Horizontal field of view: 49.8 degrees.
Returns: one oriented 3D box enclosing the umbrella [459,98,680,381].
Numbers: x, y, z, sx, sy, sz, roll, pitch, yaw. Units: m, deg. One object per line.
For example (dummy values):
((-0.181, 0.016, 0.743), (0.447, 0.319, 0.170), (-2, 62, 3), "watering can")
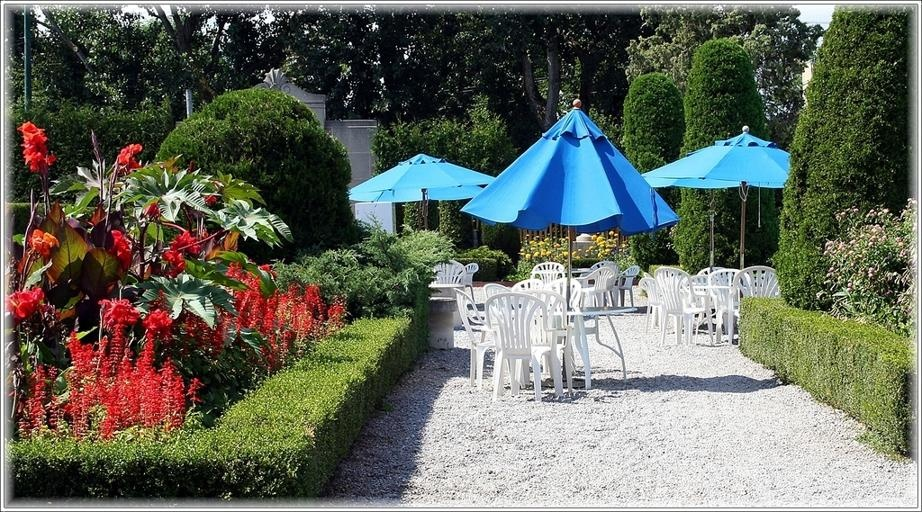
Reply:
((2.000, -0.467, 16.807), (3.450, 4.454, 3.799), (1, 6, 10), "umbrella")
